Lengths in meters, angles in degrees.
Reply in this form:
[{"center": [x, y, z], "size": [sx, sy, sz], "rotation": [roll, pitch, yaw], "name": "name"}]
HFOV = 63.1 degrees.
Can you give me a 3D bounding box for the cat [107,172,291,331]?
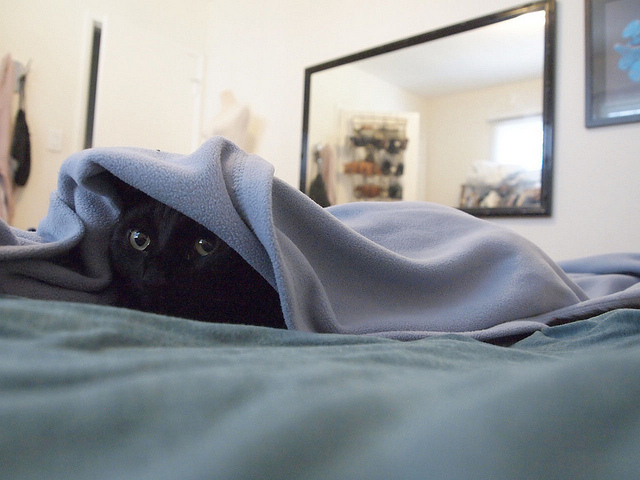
[{"center": [-0.108, 0.046, 0.533], "size": [0.179, 0.053, 0.138], "rotation": [41, 2, -27], "name": "cat"}]
